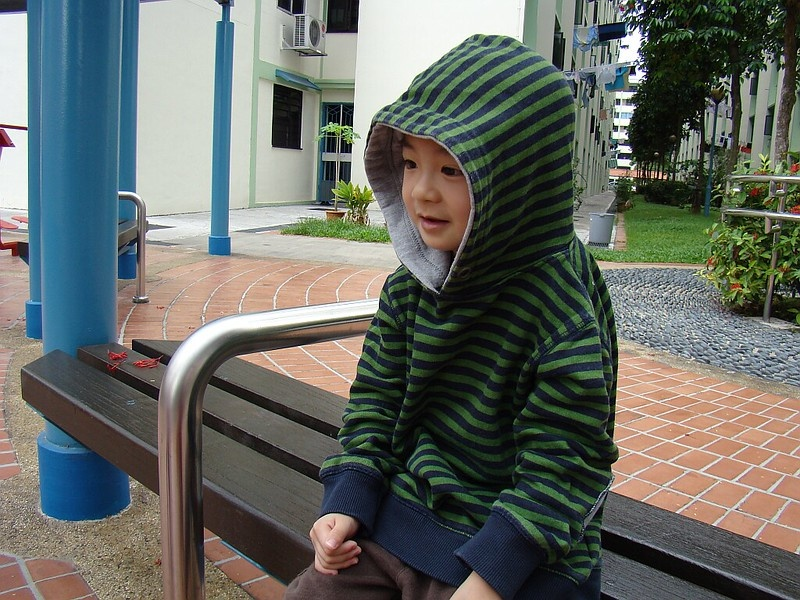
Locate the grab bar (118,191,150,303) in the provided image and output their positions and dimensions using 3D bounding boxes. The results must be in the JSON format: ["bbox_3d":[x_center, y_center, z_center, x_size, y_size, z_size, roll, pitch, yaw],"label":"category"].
[{"bbox_3d":[-2.399,-0.473,5.101,0.472,0.972,0.182,13,17,18],"label":"grab bar"}]

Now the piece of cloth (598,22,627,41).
[{"bbox_3d":[5.933,-7.537,16.072,0.727,0.191,0.744,4,17,10],"label":"piece of cloth"}]

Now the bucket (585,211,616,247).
[{"bbox_3d":[4.153,-1.482,11.948,0.770,0.911,0.712,0,8,0],"label":"bucket"}]

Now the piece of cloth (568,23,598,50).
[{"bbox_3d":[5.378,-7.690,16.666,0.852,0.890,0.377,8,2,32],"label":"piece of cloth"}]
